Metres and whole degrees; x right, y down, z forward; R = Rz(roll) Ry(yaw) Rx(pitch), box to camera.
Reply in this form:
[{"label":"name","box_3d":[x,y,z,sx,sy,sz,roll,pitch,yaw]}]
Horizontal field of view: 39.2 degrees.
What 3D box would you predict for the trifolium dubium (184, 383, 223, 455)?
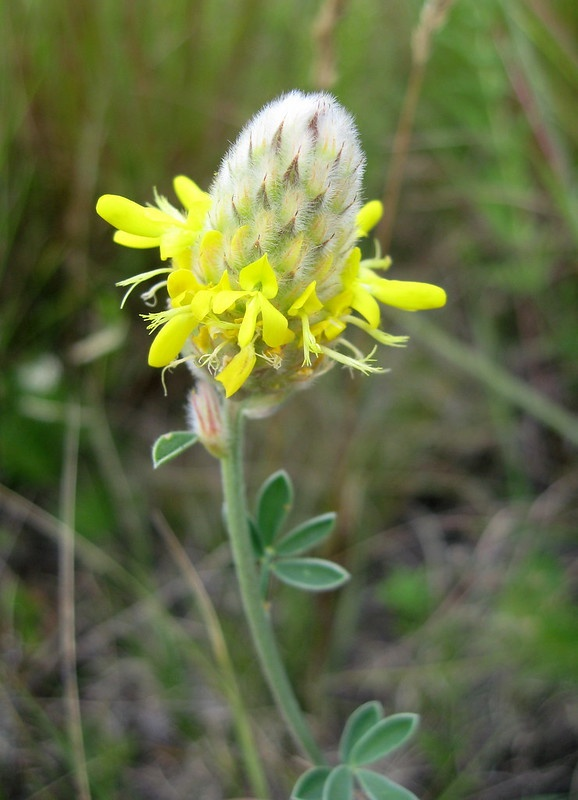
[{"label":"trifolium dubium","box_3d":[-0.125,0.029,1.218,0.040,0.069,0.094,-15,92,-10]}]
